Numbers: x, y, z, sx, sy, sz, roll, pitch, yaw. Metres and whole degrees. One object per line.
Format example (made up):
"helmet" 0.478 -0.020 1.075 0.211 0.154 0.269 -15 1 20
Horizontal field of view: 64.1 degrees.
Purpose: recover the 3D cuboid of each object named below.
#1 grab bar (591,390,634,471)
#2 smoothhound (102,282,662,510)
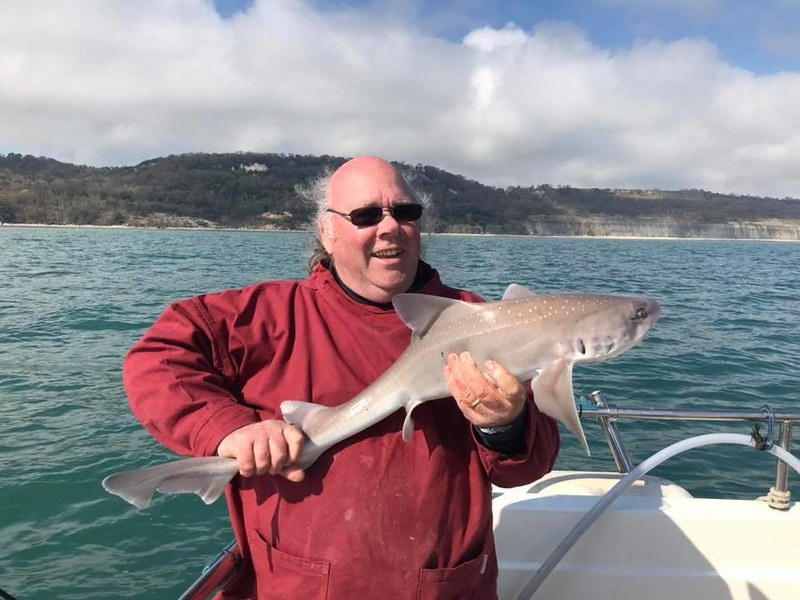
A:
"grab bar" 1.678 1.052 5.066 0.140 0.661 0.221 -16 -11 -22
"smoothhound" 0.027 0.429 3.492 2.614 0.588 1.391 -20 1 6
